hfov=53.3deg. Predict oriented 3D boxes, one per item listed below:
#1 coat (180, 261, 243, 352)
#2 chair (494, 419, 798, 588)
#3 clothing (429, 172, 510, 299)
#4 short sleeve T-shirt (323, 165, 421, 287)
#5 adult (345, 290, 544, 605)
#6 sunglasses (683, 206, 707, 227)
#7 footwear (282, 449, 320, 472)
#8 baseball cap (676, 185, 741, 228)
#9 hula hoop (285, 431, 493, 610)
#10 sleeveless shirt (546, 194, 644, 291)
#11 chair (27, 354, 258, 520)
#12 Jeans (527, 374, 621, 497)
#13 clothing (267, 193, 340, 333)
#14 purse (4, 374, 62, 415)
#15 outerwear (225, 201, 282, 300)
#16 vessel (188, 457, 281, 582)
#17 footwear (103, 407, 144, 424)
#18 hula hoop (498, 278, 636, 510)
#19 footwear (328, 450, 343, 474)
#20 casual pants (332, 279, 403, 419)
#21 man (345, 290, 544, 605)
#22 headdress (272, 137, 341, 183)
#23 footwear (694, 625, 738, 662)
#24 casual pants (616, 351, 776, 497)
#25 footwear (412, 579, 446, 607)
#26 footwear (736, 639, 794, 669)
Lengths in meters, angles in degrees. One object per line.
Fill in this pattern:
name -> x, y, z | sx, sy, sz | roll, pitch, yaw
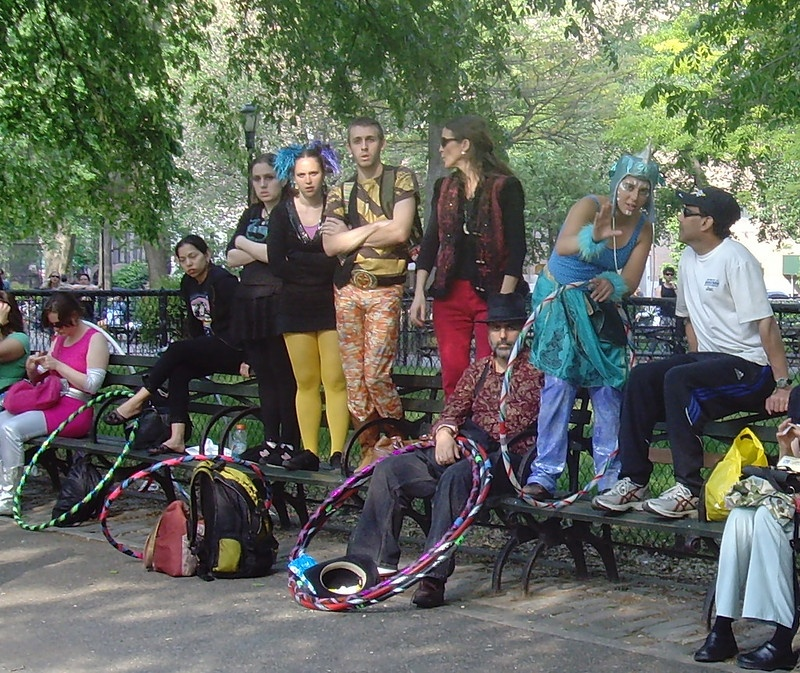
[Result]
coat -> -1.547, -0.220, 6.478 | 0.628, 0.606, 0.303 | 3, 13, 23
chair -> 1.303, 0.894, 4.338 | 1.010, 0.666, 0.431 | -7, -12, 40
clothing -> 0.436, -0.678, 5.146 | 0.513, 0.803, 0.175 | -2, -2, 7
short sleeve T-shirt -> -0.176, -0.718, 5.470 | 0.670, 0.813, 0.434 | -6, -6, 18
adult -> 0.326, 0.600, 4.777 | 0.608, 1.787, 1.106 | 7, -2, 45
sunglasses -> 1.654, -0.678, 4.487 | 0.103, 0.034, 0.101 | 11, 5, 7
footwear -> -0.686, 0.873, 5.612 | 0.104, 0.125, 0.293 | 3, -4, 44
baseball cap -> 1.734, -0.750, 4.502 | 0.310, 0.163, 0.226 | 35, 19, 7
hula hoop -> -0.091, 1.013, 4.475 | 1.195, 0.844, 0.832 | -2, -2, 13
sleeveless shirt -> 1.109, -0.592, 4.905 | 0.504, 0.693, 0.392 | 6, -18, 9
chair -> -2.328, 0.910, 7.083 | 2.401, 1.495, 0.985 | 1, -1, 37
Jeans -> 1.176, 0.619, 5.058 | 0.672, 0.982, 0.628 | -1, -5, 26
clothing -> -0.539, -0.477, 5.769 | 0.330, 0.920, 0.581 | 11, -4, -37
purse -> -3.251, 0.540, 7.032 | 0.409, 0.191, 0.316 | -13, 39, -15
outerwear -> -1.129, -0.671, 6.200 | 0.261, 0.707, 0.532 | 4, -5, -34
vessel -> -1.083, 1.129, 5.080 | 0.508, 0.738, 0.585 | 1, -7, -27
footwear -> -2.354, 0.689, 6.748 | 0.285, 0.074, 0.128 | -9, 24, -22
hula hoop -> 0.880, 0.320, 4.574 | 0.064, 1.209, 0.773 | 10, 19, -34
footwear -> -0.471, 0.886, 5.707 | 0.101, 0.117, 0.171 | 2, 3, 1
casual pants -> -0.220, 0.094, 5.450 | 0.479, 1.022, 0.377 | 4, 12, 12
man -> 0.322, 0.607, 4.802 | 0.617, 1.783, 1.073 | 8, 0, 40
headdress -> -0.700, -1.281, 5.716 | 0.335, 0.161, 0.337 | -8, 3, 1
footwear -> 1.406, 1.338, 3.544 | 0.257, 0.116, 0.092 | -3, -4, -45
casual pants -> 1.525, 0.477, 4.508 | 0.750, 0.884, 0.716 | 4, -6, -5
footwear -> 0.168, 1.367, 4.362 | 0.104, 0.139, 0.207 | 8, 9, 27
footwear -> 1.558, 1.354, 3.419 | 0.225, 0.097, 0.107 | 2, -3, -6
